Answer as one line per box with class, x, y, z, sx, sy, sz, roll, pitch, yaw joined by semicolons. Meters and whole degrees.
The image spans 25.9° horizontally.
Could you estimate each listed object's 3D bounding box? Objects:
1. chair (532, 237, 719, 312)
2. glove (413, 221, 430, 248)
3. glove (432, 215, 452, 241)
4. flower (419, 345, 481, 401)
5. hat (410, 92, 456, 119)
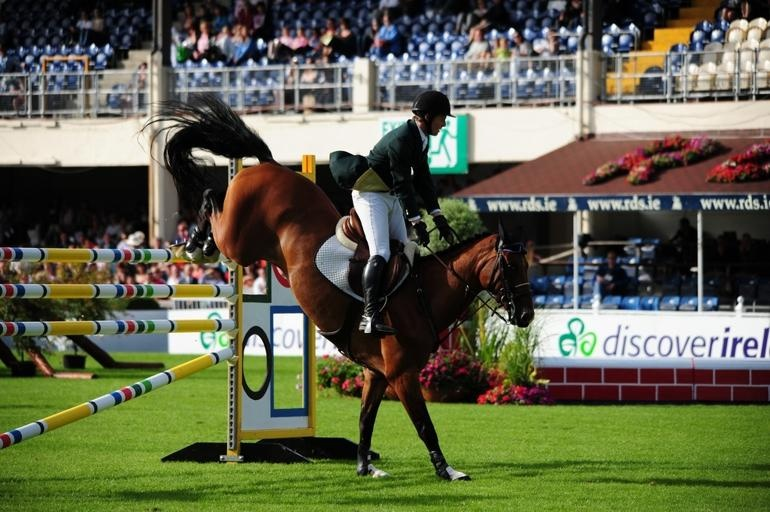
chair;5.136;0.349;34.708;4.175;1.318;1.404;1;2;17
glove;0.632;-0.366;27.077;0.280;0.380;0.115;-27;2;-13
glove;0.971;-0.428;27.121;0.178;0.429;0.258;-34;-17;23
flower;1.325;2.170;31.375;1.021;0.596;0.935;2;-6;-21
hat;0.815;-2.456;27.243;0.541;0.322;0.389;-2;0;-2
